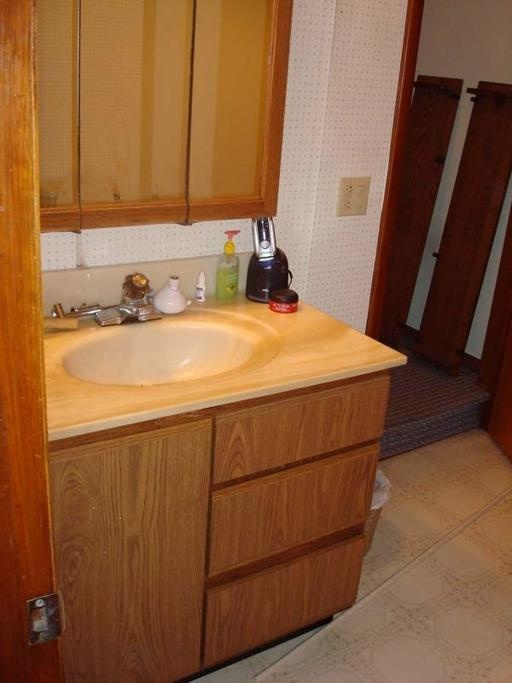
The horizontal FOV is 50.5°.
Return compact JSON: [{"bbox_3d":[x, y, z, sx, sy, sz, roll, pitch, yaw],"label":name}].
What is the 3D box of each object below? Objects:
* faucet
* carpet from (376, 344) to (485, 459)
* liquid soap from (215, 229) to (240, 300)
[{"bbox_3d":[-0.359,-0.134,1.557,0.185,0.133,0.125,-7,21,-28],"label":"faucet"},{"bbox_3d":[0.960,0.319,3.036,0.476,0.122,0.519,-12,24,-26],"label":"carpet"},{"bbox_3d":[-0.092,-0.256,1.761,0.078,0.220,0.135,4,25,-3],"label":"liquid soap"}]
